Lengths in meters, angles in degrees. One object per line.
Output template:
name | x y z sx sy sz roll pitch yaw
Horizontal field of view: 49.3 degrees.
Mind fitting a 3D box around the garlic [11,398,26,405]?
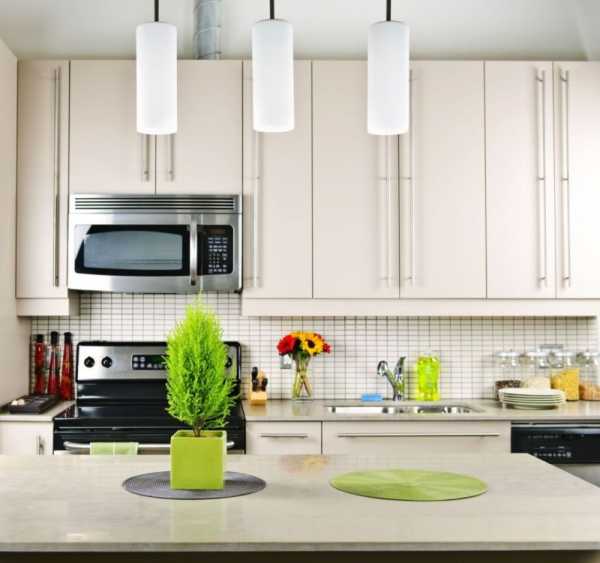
garlic | -1.302 0.562 3.024 0.049 0.021 0.044 -4 2 -10

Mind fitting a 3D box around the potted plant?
potted plant | -0.281 0.295 1.841 0.194 0.504 0.409 1 -3 -6

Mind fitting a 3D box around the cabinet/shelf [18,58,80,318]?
cabinet/shelf | -1.258 -0.501 3.209 0.257 1.162 0.075 0 -3 5

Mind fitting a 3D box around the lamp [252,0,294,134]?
lamp | -0.071 -0.500 1.609 0.102 0.254 0.099 0 -3 6

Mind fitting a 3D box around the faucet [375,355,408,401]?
faucet | 0.486 0.518 3.506 0.151 0.224 0.183 0 -3 9

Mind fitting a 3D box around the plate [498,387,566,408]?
plate | 1.152 0.587 3.274 0.302 0.087 0.278 0 -3 20

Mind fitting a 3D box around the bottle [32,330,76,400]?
bottle | -1.301 0.447 3.445 0.225 0.359 0.172 2 -3 -16

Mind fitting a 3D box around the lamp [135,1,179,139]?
lamp | -0.353 -0.500 1.611 0.096 0.264 0.063 1 -3 -13

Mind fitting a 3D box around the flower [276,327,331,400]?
flower | 0.008 0.417 3.372 0.311 0.336 0.326 0 -2 0

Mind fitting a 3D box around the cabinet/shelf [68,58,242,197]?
cabinet/shelf | -0.694 -0.665 2.990 0.648 0.571 0.253 0 -4 -1

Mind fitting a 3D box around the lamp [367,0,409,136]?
lamp | 0.217 -0.498 1.611 0.099 0.262 0.091 0 -3 5
